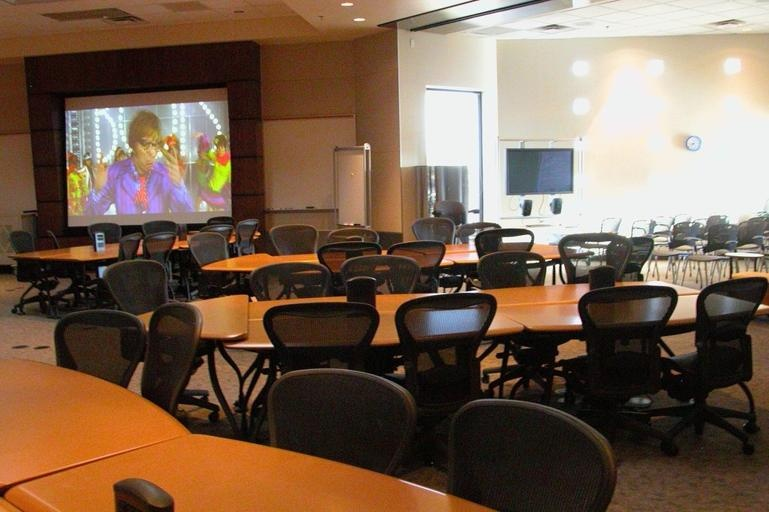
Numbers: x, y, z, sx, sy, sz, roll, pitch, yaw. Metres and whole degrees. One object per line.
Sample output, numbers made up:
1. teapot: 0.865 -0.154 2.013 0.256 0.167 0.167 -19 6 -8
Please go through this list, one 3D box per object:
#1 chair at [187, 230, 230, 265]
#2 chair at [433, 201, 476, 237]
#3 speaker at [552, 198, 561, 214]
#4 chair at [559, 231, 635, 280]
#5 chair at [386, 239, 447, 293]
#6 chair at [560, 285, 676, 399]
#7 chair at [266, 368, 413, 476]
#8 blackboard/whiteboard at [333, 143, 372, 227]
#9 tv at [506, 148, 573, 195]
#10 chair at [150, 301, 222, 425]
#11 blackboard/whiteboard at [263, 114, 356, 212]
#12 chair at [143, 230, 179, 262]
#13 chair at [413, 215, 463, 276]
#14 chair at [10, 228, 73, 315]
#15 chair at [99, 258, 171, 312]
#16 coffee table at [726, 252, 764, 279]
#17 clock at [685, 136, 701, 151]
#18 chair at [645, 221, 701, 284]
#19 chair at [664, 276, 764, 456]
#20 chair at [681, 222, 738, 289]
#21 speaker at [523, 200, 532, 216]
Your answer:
1. chair: -2.187 -0.143 7.754 0.436 0.563 0.444 -7 9 -34
2. chair: 1.215 -0.570 10.740 0.760 0.842 0.654 -1 2 -11
3. speaker: 3.347 -0.985 11.966 0.137 0.312 0.220 3 10 28
4. chair: 2.030 -0.005 6.078 0.533 0.706 0.560 2 12 16
5. chair: 0.409 0.099 6.656 0.570 0.756 0.582 -2 17 -7
6. chair: 1.577 0.580 4.740 0.885 0.842 0.802 -2 8 -4
7. chair: -0.165 0.788 3.396 0.554 0.827 0.627 2 1 16
8. blackboard/whiteboard: -0.582 -1.318 11.433 0.678 1.480 0.191 2 10 25
9. tv: 3.033 -1.705 12.223 1.005 0.591 0.128 1 1 -21
10. chair: -1.287 0.696 4.042 0.564 0.775 0.526 5 7 -16
11. blackboard/whiteboard: -1.385 -1.893 12.098 2.101 1.913 0.199 0 7 7
12. chair: -2.993 -0.137 8.311 0.338 0.536 0.416 -11 34 -36
13. chair: 0.699 -0.143 8.489 0.586 0.846 0.632 1 3 -3
14. chair: -4.991 0.194 9.031 0.798 1.115 0.771 1 4 -26
15. chair: -2.215 0.226 5.688 0.542 0.667 0.568 -7 6 -39
16. coffee table: 5.694 0.120 9.761 0.437 0.307 0.434 0 6 23
17. clock: 6.574 -2.418 13.175 0.390 0.336 0.100 -4 9 -16
18. chair: 5.316 -0.149 10.993 0.651 0.849 0.631 0 0 20
19. chair: 2.502 0.783 4.664 0.930 1.302 0.491 -4 9 -14
20. chair: 5.505 -0.050 10.395 0.724 0.934 0.719 -7 -8 43
21. speaker: 2.688 -0.921 11.654 0.141 0.319 0.219 4 10 31
